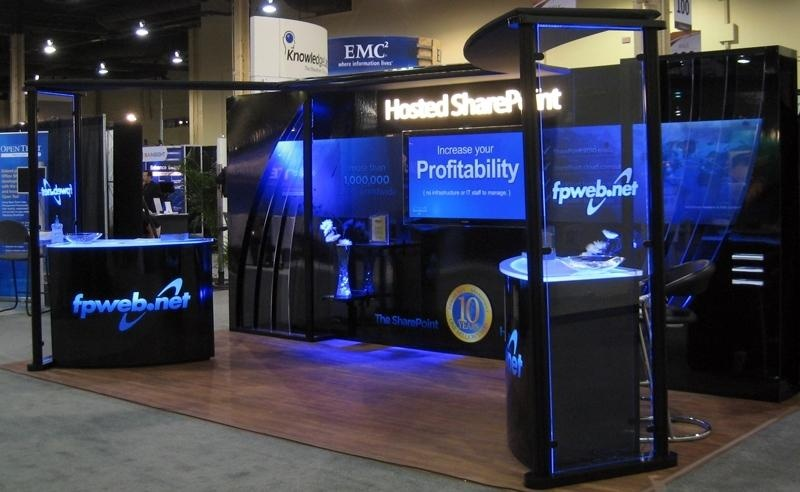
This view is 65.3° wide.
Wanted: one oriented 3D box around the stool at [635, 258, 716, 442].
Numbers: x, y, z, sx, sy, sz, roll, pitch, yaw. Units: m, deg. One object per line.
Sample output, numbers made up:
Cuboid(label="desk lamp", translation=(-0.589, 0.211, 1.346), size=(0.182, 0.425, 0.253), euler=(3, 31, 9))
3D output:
Cuboid(label="stool", translation=(1.972, 0.769, 4.439), size=(0.478, 1.248, 1.114), euler=(4, 10, 29))

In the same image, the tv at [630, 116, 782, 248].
Cuboid(label="tv", translation=(2.432, -0.513, 4.863), size=(1.145, 1.015, 0.365), euler=(1, 3, 29))

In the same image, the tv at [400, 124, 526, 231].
Cuboid(label="tv", translation=(0.661, -0.674, 6.052), size=(1.134, 0.758, 0.115), euler=(-1, 3, 24))
